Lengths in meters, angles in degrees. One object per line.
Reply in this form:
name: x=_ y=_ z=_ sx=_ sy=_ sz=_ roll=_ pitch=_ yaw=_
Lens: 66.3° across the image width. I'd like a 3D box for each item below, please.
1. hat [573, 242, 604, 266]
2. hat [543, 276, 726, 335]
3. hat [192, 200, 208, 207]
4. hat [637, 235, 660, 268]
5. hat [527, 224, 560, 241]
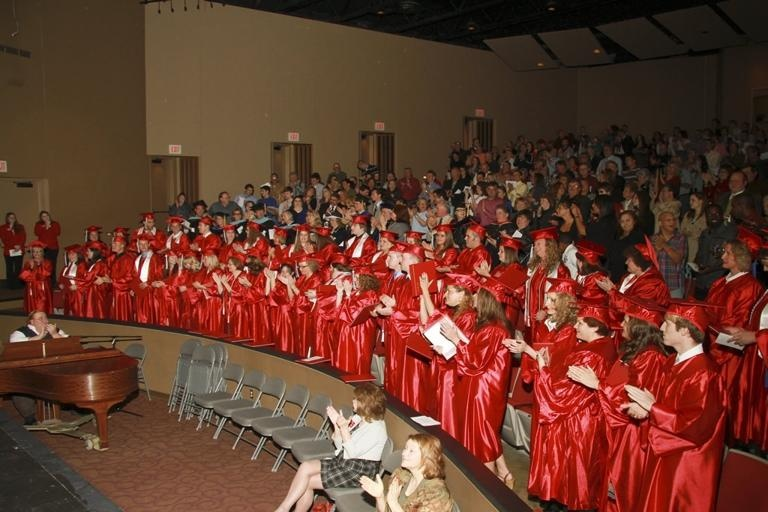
hat: x=2.820 y=-0.053 z=8.040 sx=0.334 sy=0.340 sz=0.297 roll=0 pitch=4 yaw=8
hat: x=2.844 y=0.510 z=6.231 sx=1.094 sy=0.357 sz=1.186 roll=1 pitch=0 yaw=-21
hat: x=-4.759 y=-1.376 z=15.283 sx=0.419 sy=0.123 sz=0.447 roll=1 pitch=1 yaw=3
hat: x=3.308 y=-0.046 z=7.423 sx=0.243 sy=0.352 sz=0.251 roll=1 pitch=4 yaw=21
hat: x=2.310 y=-0.320 z=8.451 sx=0.379 sy=0.191 sz=0.277 roll=0 pitch=3 yaw=6
